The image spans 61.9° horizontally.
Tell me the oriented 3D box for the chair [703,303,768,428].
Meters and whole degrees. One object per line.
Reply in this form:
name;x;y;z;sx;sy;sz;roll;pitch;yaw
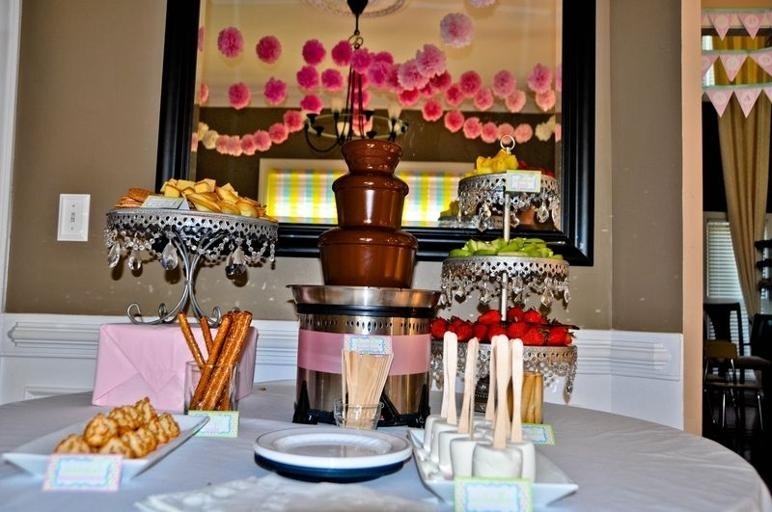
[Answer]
chair;2.865;0.898;5.304;0.468;1.011;0.486;0;0;13

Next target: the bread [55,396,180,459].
bread;-0.625;0.402;1.505;0.149;0.096;0.215;1;-3;-4

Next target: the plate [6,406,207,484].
plate;-0.641;0.445;1.526;0.381;0.117;0.255;3;-4;-1

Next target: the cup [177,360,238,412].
cup;-0.470;0.338;1.744;0.128;0.153;0.133;1;-6;0

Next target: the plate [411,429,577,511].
plate;0.230;0.495;1.523;0.334;0.103;0.333;3;-4;-5

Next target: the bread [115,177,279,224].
bread;-0.617;-0.147;2.134;0.338;0.138;0.543;-3;-4;26
